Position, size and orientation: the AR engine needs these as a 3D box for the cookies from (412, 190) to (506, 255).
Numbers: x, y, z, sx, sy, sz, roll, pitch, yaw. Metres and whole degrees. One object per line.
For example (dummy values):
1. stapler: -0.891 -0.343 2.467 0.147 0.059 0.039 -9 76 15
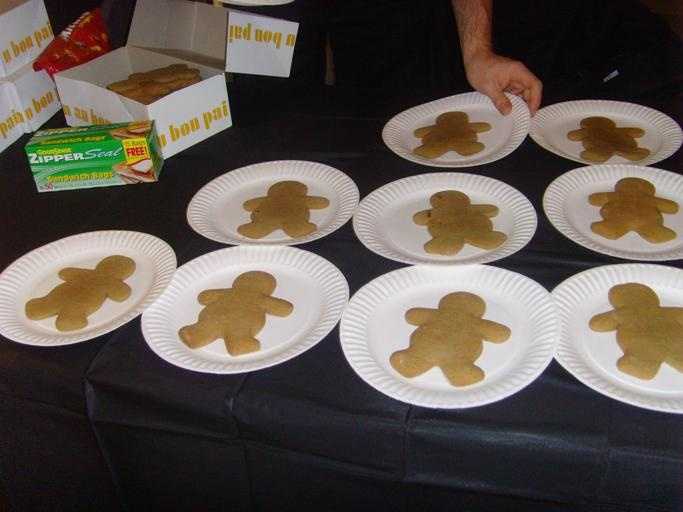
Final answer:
1. cookies: 0.307 -0.087 1.521 0.245 0.260 0.019 22 57 -11

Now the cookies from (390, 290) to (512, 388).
1. cookies: 0.248 0.175 1.263 0.232 0.039 0.248 14 59 12

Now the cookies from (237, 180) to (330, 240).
1. cookies: -0.168 -0.144 1.595 0.259 0.270 0.024 -6 56 -16

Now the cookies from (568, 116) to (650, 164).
1. cookies: 0.804 -0.346 1.705 0.158 0.014 0.177 -8 35 -3
